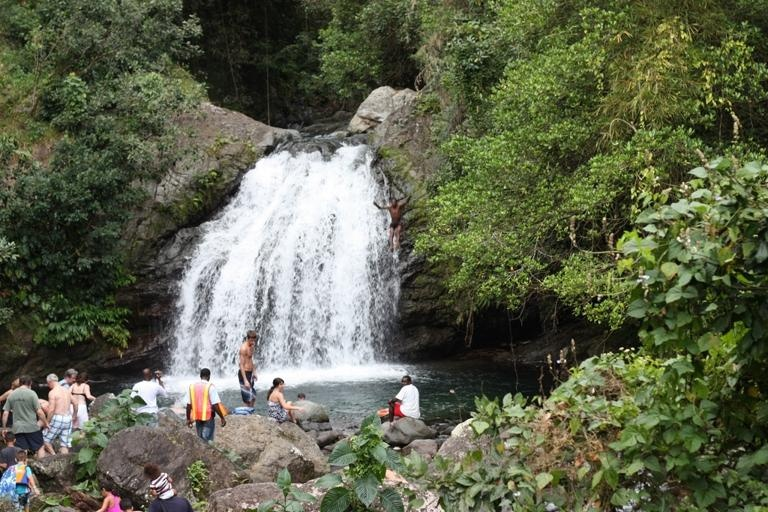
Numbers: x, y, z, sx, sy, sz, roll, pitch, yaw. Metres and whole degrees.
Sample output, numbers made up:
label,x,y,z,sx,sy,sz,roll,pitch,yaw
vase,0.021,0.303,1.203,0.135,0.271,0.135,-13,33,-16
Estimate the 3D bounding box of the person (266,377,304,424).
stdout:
label,x,y,z,sx,sy,sz,roll,pitch,yaw
person,-2.292,3.325,14.671,0.743,1.143,0.680,-3,6,0
